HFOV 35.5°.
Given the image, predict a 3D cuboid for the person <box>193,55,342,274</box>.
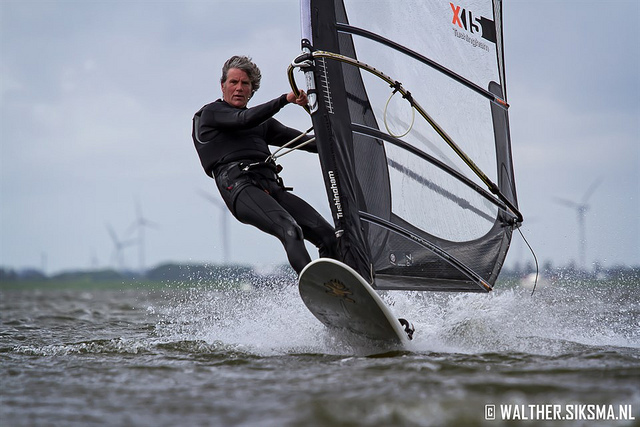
[{"bbox_3d":[-0.540,-0.578,10.901,1.024,2.279,1.419,-9,11,-40],"label":"person"}]
